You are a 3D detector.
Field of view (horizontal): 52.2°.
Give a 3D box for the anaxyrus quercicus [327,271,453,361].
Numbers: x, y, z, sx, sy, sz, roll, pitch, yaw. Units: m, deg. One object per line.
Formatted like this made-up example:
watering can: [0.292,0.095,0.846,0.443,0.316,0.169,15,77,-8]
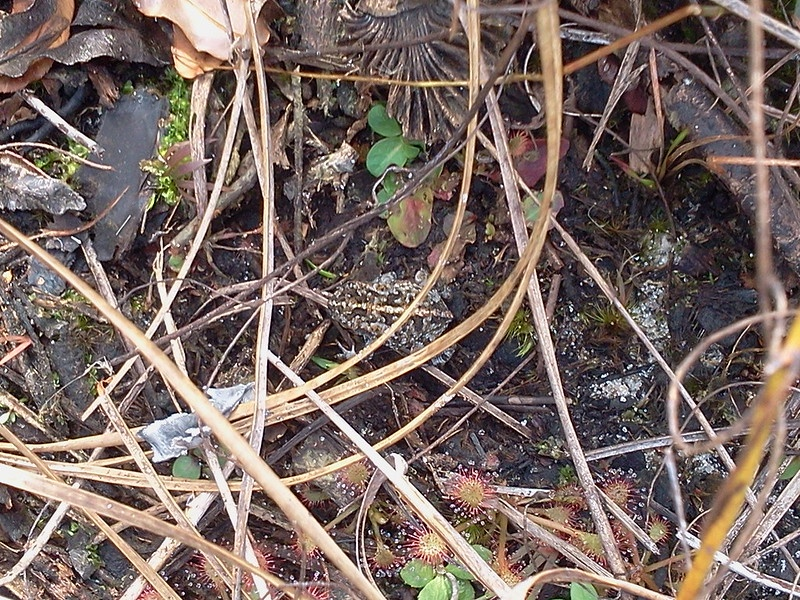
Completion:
anaxyrus quercicus: [-0.025,0.051,2.162,0.324,0.170,0.214,-6,63,6]
